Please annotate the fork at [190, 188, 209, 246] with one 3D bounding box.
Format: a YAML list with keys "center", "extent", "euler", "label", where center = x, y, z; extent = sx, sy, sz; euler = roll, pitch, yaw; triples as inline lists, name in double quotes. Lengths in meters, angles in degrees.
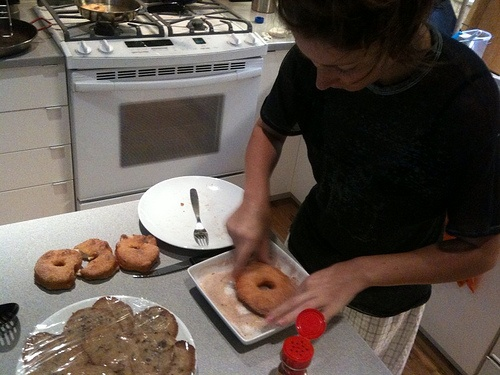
- center: [-0.153, 0.083, 1.075]
  extent: [0.048, 0.027, 0.313]
  euler: [3, 29, -18]
  label: "fork"

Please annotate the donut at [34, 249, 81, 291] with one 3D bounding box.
- center: [-0.445, 0.185, 0.857]
  extent: [0.092, 0.034, 0.102]
  euler: [10, 31, -16]
  label: "donut"

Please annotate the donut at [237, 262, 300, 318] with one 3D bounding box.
- center: [0.039, 0.252, 0.920]
  extent: [0.131, 0.040, 0.136]
  euler: [-26, 27, -2]
  label: "donut"

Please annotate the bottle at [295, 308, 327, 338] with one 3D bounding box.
- center: [0.122, 0.271, 0.744]
  extent: [0.056, 0.017, 0.061]
  euler: [1, 36, -1]
  label: "bottle"
